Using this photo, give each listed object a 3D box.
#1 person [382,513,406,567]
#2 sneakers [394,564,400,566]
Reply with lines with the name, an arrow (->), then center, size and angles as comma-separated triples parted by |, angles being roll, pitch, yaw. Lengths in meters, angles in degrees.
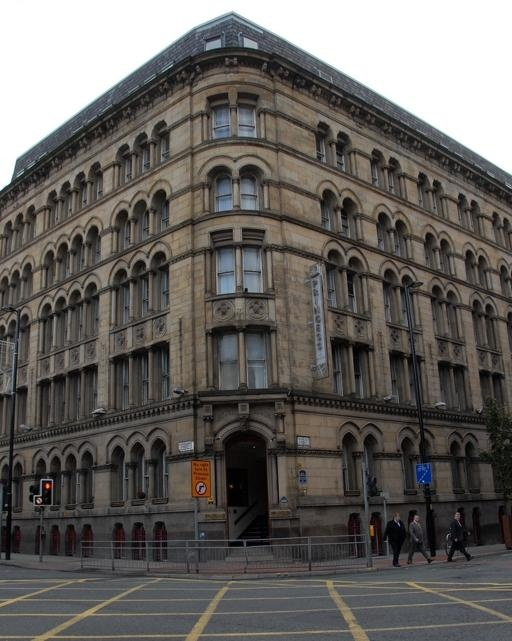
person -> 4.303, 6.797, 19.951 | 0.569, 1.462, 1.686 | -7, -18, 8
sneakers -> 4.169, 7.263, 19.135 | 0.140, 0.051, 0.196 | 0, -9, 3
